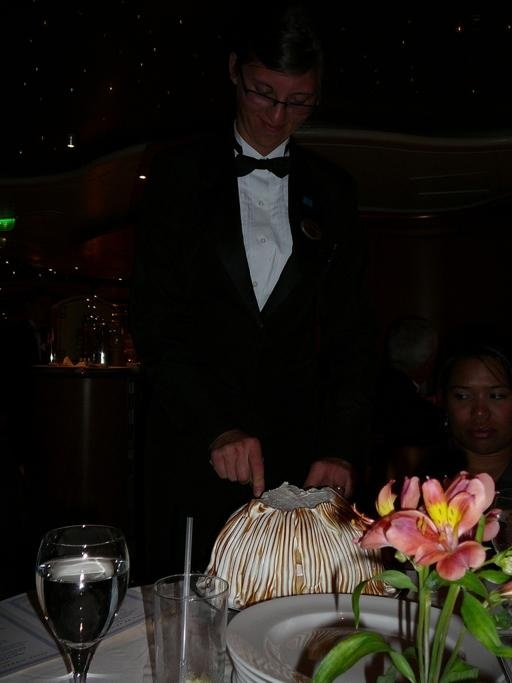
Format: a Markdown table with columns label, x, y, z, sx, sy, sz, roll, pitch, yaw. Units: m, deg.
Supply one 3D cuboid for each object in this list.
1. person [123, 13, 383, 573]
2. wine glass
| label | x | y | z | sx | sy | sz | roll | pitch | yaw |
| --- | --- | --- | --- | --- | --- | --- | --- | --- | --- |
| person | 0.003 | -0.103 | 1.635 | 0.646 | 1.340 | 0.420 | -2 | -1 | -8 |
| wine glass | -0.139 | 0.224 | 0.496 | 0.072 | 0.098 | 0.093 | -2 | -1 | -17 |
